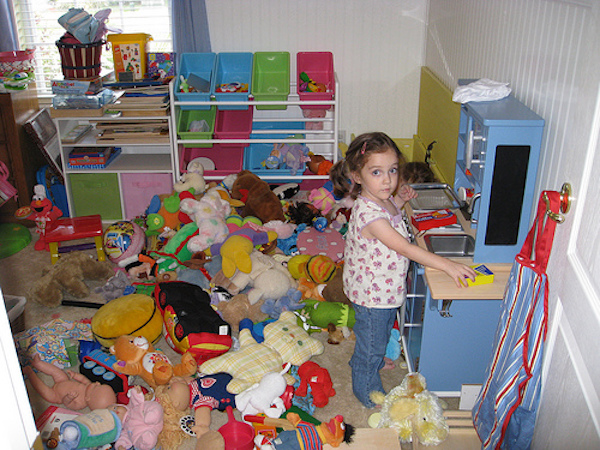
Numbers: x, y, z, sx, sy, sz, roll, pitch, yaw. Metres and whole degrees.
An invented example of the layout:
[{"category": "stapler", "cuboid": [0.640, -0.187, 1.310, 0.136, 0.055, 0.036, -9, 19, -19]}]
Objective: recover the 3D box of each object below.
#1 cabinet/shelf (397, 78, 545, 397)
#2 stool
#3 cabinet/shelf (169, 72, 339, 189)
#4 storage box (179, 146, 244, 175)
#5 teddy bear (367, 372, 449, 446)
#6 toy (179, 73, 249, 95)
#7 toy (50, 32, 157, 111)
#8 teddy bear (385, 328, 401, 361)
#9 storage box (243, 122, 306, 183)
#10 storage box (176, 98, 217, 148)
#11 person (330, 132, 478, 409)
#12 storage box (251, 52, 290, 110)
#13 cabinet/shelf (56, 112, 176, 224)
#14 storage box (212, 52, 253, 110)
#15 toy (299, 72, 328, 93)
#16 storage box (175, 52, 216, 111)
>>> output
[{"category": "cabinet/shelf", "cuboid": [0.953, -0.100, 3.020, 0.667, 1.647, 1.725, -2, 25, 12]}, {"category": "stool", "cuboid": [-1.759, 0.042, 3.544, 0.405, 0.253, 0.401, -10, 29, -18]}, {"category": "cabinet/shelf", "cuboid": [-0.438, -0.837, 4.018, 1.312, 0.778, 0.452, -1, 38, -2]}, {"category": "storage box", "cuboid": [-0.789, -0.637, 4.261, 0.388, 0.099, 0.380, 0, 40, -4]}, {"category": "teddy bear", "cuboid": [0.500, 0.847, 2.061, 0.245, 0.222, 0.273, -6, 19, -13]}, {"category": "toy", "cuboid": [-0.749, -1.228, 3.933, 0.607, 0.162, 0.371, 0, 18, 3]}, {"category": "toy", "cuboid": [-1.707, -1.374, 4.010, 0.436, 0.636, 0.845, 12, 22, 35]}, {"category": "teddy bear", "cuboid": [0.557, 0.706, 2.732, 0.141, 0.192, 0.073, 2, -10, 17]}, {"category": "storage box", "cuboid": [-0.222, -0.653, 4.196, 0.625, 0.596, 0.182, -3, -1, 10]}, {"category": "storage box", "cuboid": [-0.921, -0.915, 4.055, 0.283, 0.160, 0.413, 0, 40, -3]}, {"category": "person", "cuboid": [0.463, 0.241, 2.332, 0.437, 1.408, 0.758, -8, 19, -18]}, {"category": "storage box", "cuboid": [-0.269, -1.317, 4.002, 0.373, 0.534, 0.211, -1, -19, 1]}, {"category": "cabinet/shelf", "cuboid": [-1.606, -0.495, 3.984, 0.906, 0.881, 0.349, -4, 14, -10]}, {"category": "storage box", "cuboid": [-0.587, -1.318, 3.943, 0.369, 0.555, 0.217, -1, -26, 0]}, {"category": "toy", "cuboid": [0.101, -1.270, 4.022, 0.217, 0.176, 0.449, -4, 18, -8]}, {"category": "storage box", "cuboid": [-0.915, -1.289, 3.993, 0.383, 0.226, 0.576, 3, 62, -10]}]
